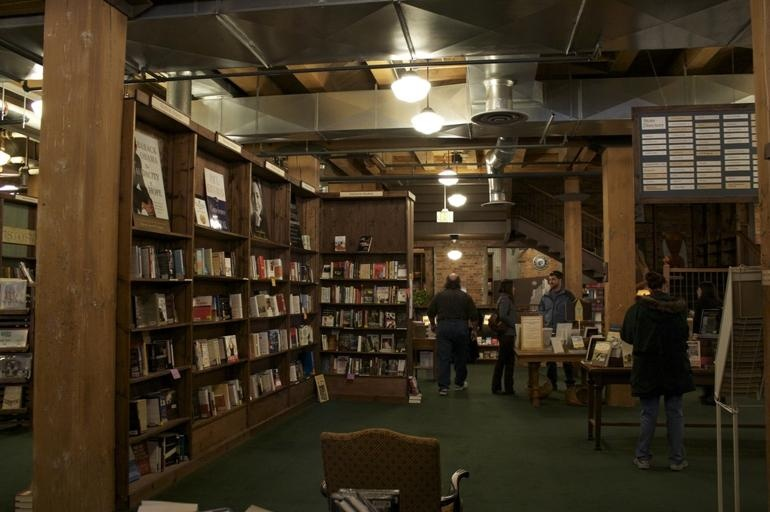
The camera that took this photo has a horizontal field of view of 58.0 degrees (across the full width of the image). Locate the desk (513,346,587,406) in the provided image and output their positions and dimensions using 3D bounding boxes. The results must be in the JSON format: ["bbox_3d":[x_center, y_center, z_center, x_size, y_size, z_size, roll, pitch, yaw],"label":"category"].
[{"bbox_3d":[2.766,2.014,11.307,0.781,0.857,1.363,-4,-12,9],"label":"desk"}]

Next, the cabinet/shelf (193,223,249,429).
[{"bbox_3d":[-2.170,0.856,8.935,0.456,2.362,1.054,-2,-5,14],"label":"cabinet/shelf"}]

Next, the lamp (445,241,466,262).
[{"bbox_3d":[2.127,-0.149,20.901,0.523,0.590,0.554,-1,-4,5],"label":"lamp"}]

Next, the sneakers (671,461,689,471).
[{"bbox_3d":[3.492,2.492,8.223,0.220,0.089,0.085,-5,3,-35],"label":"sneakers"}]

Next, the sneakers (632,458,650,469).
[{"bbox_3d":[3.075,2.493,8.283,0.089,0.089,0.200,0,-1,3],"label":"sneakers"}]

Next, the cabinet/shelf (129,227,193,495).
[{"bbox_3d":[-2.627,1.122,7.958,0.518,2.771,0.894,-3,-5,20],"label":"cabinet/shelf"}]
